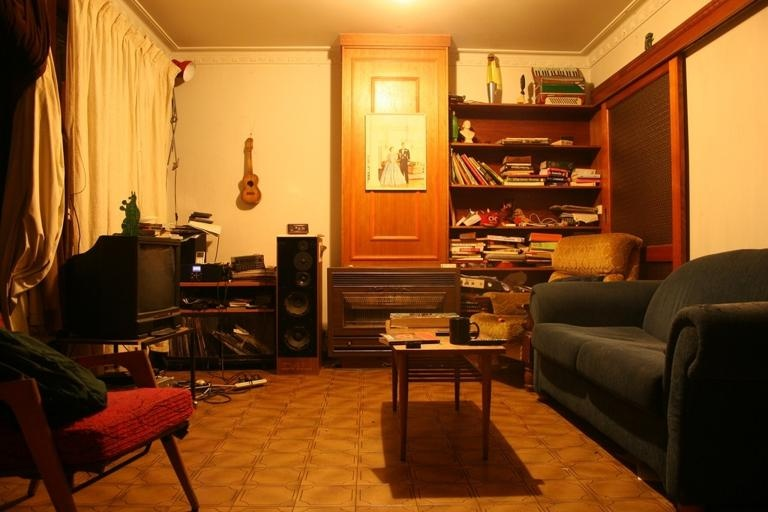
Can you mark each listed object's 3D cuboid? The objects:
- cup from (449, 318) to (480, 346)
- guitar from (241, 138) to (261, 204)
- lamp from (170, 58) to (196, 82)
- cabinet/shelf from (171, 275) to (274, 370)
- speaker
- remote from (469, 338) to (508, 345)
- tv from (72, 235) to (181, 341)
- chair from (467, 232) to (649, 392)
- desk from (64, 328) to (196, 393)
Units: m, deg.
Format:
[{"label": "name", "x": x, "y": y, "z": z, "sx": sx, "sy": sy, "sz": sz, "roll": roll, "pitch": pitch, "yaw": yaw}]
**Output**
[{"label": "cup", "x": 0.485, "y": 0.448, "z": 3.542, "sx": 0.208, "sy": 0.148, "sz": 0.119, "roll": -1, "pitch": 1, "yaw": 10}, {"label": "guitar", "x": -1.346, "y": -0.826, "z": 5.835, "sx": 0.197, "sy": 0.695, "sz": 0.207, "roll": -5, "pitch": 12, "yaw": -17}, {"label": "lamp", "x": -1.979, "y": -1.831, "z": 5.797, "sx": 0.205, "sy": 0.250, "sz": 0.275, "roll": -3, "pitch": 11, "yaw": -9}, {"label": "cabinet/shelf", "x": -1.438, "y": 0.585, "z": 5.125, "sx": 0.937, "sy": 0.796, "sz": 0.344, "roll": 0, "pitch": -2, "yaw": -7}, {"label": "speaker", "x": -0.732, "y": 0.409, "z": 4.989, "sx": 0.388, "sy": 1.142, "sz": 0.292, "roll": -3, "pitch": 12, "yaw": -9}, {"label": "remote", "x": 0.607, "y": 0.509, "z": 3.444, "sx": 0.215, "sy": 0.025, "sz": 0.083, "roll": 0, "pitch": 10, "yaw": 2}, {"label": "tv", "x": -1.795, "y": 0.222, "z": 4.084, "sx": 0.661, "sy": 0.606, "sz": 0.674, "roll": 1, "pitch": -2, "yaw": -5}, {"label": "chair", "x": 1.404, "y": 0.412, "z": 4.809, "sx": 1.262, "sy": 1.115, "sz": 0.997, "roll": -3, "pitch": 0, "yaw": -27}, {"label": "desk", "x": -1.666, "y": 0.573, "z": 4.020, "sx": 0.619, "sy": 0.644, "sz": 0.727, "roll": -1, "pitch": 2, "yaw": 5}]
